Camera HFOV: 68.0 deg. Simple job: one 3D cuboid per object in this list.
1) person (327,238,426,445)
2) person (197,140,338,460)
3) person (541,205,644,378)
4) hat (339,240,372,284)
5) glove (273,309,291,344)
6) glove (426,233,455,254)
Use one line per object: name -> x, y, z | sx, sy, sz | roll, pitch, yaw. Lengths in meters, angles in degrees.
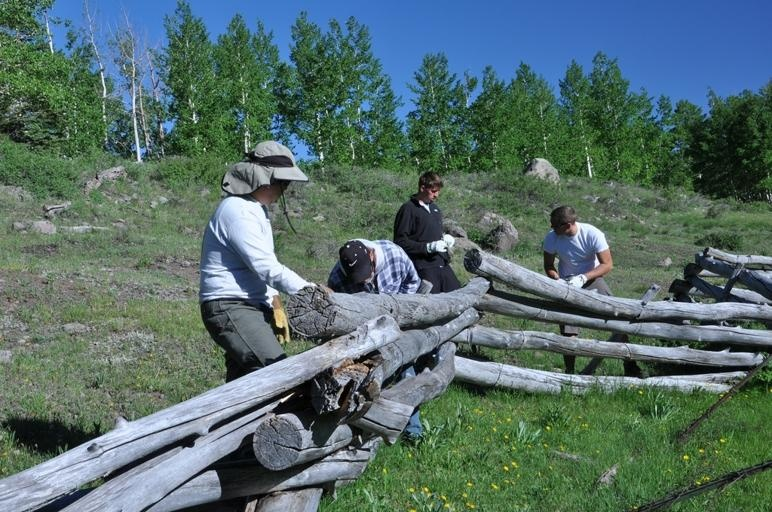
person -> 0.001, 1.134, 7.704 | 1.243, 3.126, 0.969 | -13, 19, -23
person -> -1.460, 0.095, 6.148 | 1.116, 2.618, 0.749 | 0, 11, -12
person -> 3.366, 0.598, 9.605 | 1.447, 2.792, 0.936 | 5, 11, 16
hat -> -0.383, 0.015, 6.846 | 0.372, 0.326, 0.601 | -15, 44, 9
glove -> -1.159, 0.772, 6.399 | 0.101, 0.382, 0.280 | -9, -5, -6
glove -> 0.844, -0.179, 8.693 | 0.316, 0.256, 0.509 | 7, 12, 22
